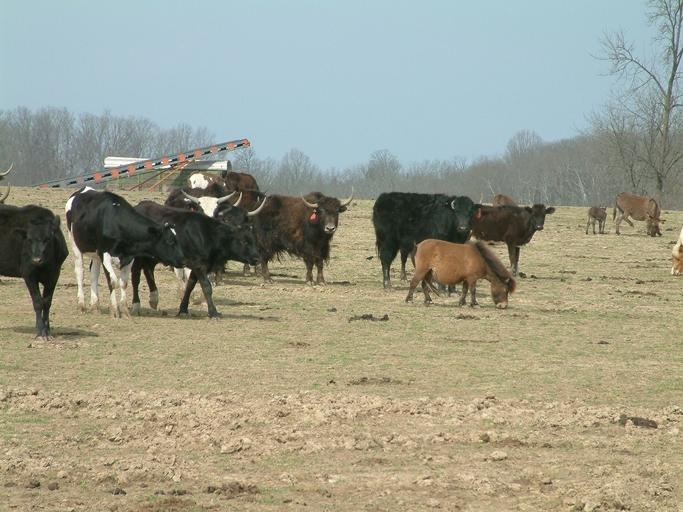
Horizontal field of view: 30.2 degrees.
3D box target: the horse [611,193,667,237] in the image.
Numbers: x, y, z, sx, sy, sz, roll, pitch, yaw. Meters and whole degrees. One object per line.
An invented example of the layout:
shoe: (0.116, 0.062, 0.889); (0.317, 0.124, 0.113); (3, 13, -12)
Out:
horse: (11.362, -1.619, 48.154); (2.488, 1.286, 0.590); (6, -3, -19)
